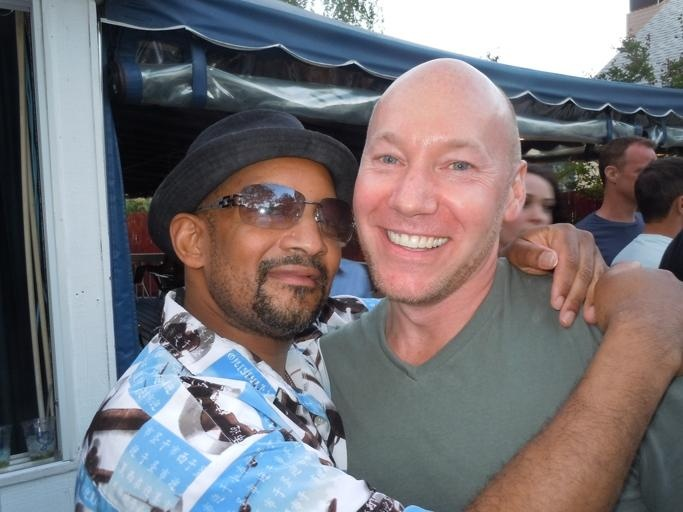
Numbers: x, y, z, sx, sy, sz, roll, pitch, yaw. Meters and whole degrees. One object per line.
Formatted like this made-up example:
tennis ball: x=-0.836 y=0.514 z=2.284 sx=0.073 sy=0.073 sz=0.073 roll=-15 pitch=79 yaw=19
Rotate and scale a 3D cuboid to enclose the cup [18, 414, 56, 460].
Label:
cup: x=-1.768 y=1.058 z=3.850 sx=0.216 sy=0.240 sz=0.209 roll=-4 pitch=-17 yaw=-1
